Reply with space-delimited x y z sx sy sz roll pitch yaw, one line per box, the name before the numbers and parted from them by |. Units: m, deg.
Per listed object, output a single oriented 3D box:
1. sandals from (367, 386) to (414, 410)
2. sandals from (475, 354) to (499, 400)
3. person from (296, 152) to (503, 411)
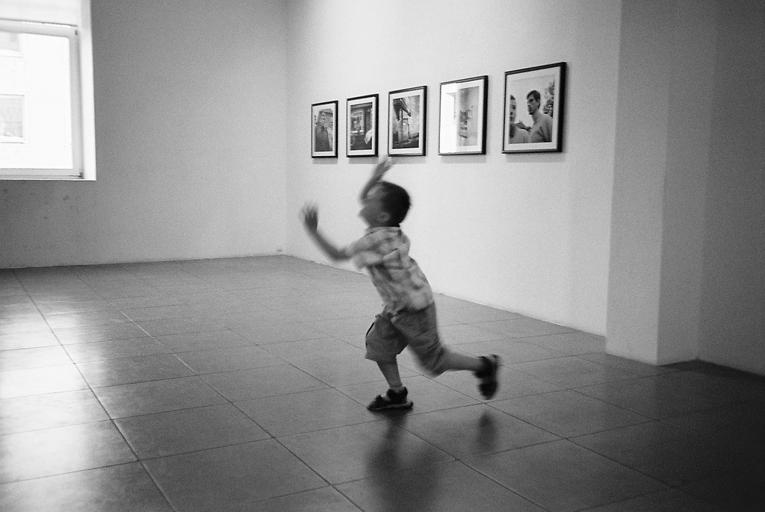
sandals | 0.067 0.967 3.457 0.339 0.147 0.126 2 -4 -11
sandals | 0.712 0.840 3.548 0.133 0.343 0.158 8 17 41
person | 0.138 0.217 3.333 1.249 1.603 0.357 1 10 3
